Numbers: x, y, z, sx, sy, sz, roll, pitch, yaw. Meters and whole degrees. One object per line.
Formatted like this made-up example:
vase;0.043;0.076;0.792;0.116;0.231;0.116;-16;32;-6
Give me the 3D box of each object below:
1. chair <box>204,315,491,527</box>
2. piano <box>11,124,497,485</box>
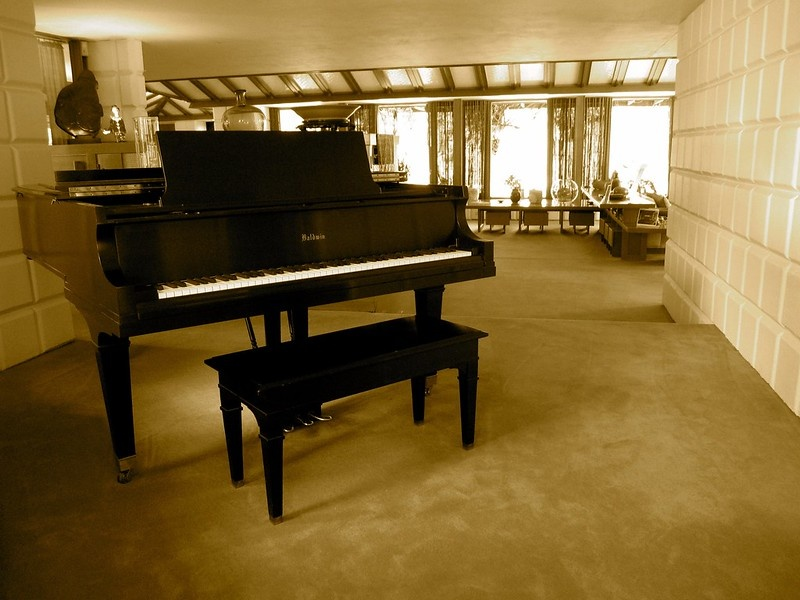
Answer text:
chair;-0.235;0.482;2.762;1.131;0.603;0.511;-11;18;-28
piano;-0.913;-0.242;3.373;1.913;1.301;2.254;-10;19;-36
